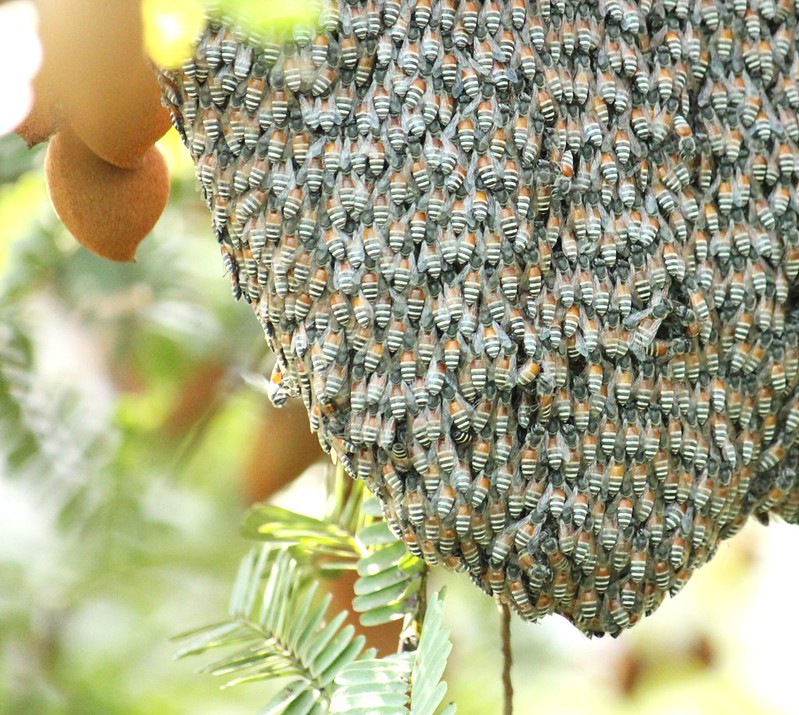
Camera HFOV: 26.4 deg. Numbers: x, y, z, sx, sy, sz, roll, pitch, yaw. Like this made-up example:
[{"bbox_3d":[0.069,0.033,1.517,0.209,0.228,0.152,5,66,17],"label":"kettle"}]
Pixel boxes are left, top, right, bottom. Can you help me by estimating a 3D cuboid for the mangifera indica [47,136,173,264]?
[{"bbox_3d":[-0.183,-0.097,1.078,0.060,0.075,0.072,-1,-1,-1],"label":"mangifera indica"}]
